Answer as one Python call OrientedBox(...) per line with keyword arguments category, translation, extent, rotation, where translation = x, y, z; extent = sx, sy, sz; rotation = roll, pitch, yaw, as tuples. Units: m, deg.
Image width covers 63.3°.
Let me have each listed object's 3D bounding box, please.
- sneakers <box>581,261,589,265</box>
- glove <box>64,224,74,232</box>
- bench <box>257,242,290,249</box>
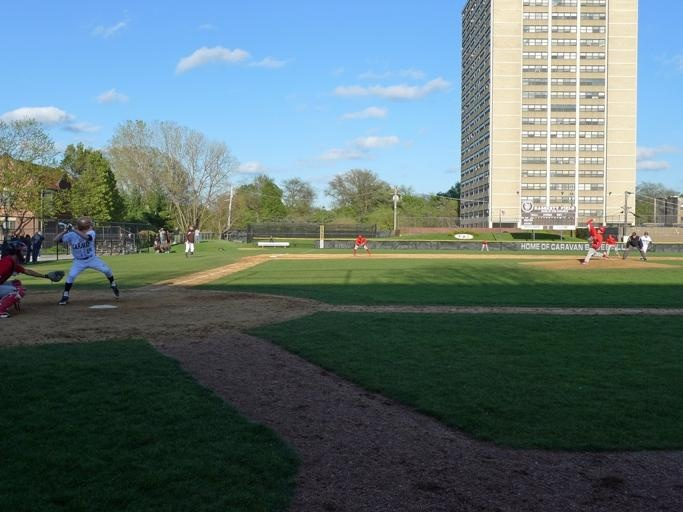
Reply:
OrientedBox(category="sneakers", translation=(12.518, 0.344, 28.278), extent=(0.217, 0.077, 0.282), rotation=(-1, 10, -33))
OrientedBox(category="glove", translation=(-6.712, -0.701, 13.597), extent=(0.218, 0.198, 0.226), rotation=(4, 21, -11))
OrientedBox(category="bench", translation=(-6.319, -1.063, 51.690), extent=(2.726, 0.609, 1.817), rotation=(1, 11, 1))
